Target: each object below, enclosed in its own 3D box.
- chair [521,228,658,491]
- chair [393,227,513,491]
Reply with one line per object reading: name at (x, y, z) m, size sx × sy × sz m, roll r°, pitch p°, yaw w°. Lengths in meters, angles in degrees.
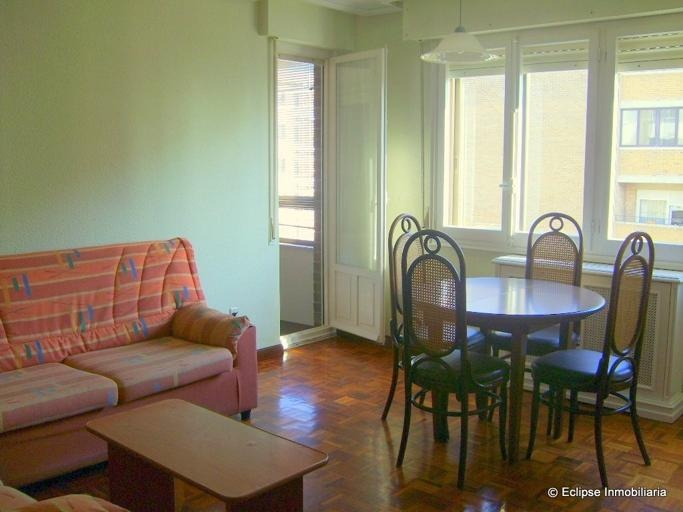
chair at (1.564, 0.517, 3.291) m, size 0.658 × 1.359 × 0.997 m, roll 6°, pitch 12°, yaw 32°
chair at (0.662, 0.557, 3.197) m, size 0.683 × 1.441 × 0.650 m, roll 0°, pitch 5°, yaw 12°
